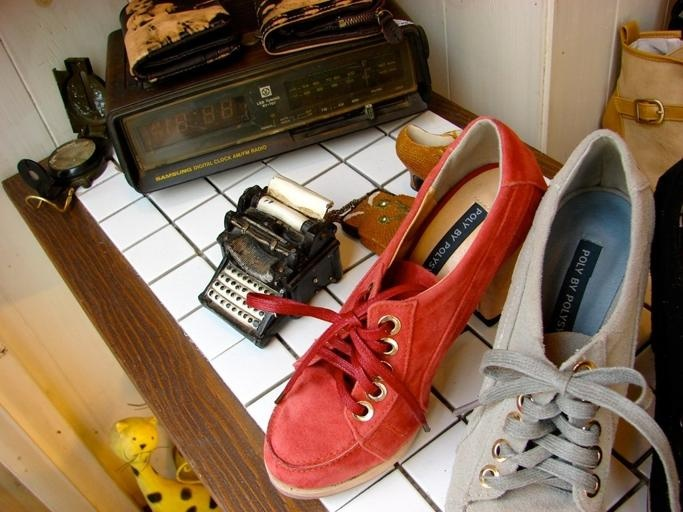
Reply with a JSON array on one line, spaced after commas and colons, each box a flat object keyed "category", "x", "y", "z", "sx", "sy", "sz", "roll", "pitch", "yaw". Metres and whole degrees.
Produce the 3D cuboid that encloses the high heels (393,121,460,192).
[{"category": "high heels", "x": 0.175, "y": -0.198, "z": 0.980, "sx": 0.078, "sy": 0.065, "sz": 0.148, "roll": 28, "pitch": 63, "yaw": 36}]
